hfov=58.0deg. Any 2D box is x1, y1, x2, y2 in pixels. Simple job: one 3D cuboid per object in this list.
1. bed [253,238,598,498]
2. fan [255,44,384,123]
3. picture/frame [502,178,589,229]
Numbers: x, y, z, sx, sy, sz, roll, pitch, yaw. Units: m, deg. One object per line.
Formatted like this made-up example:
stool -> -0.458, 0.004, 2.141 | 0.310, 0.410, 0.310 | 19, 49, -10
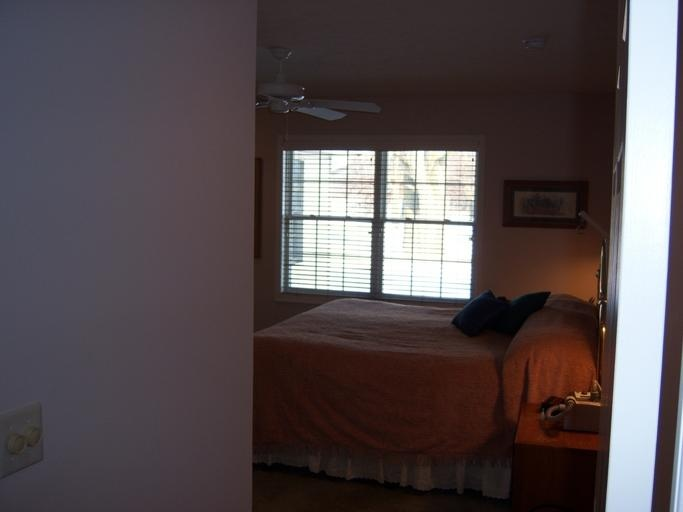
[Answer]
bed -> 0.397, 0.422, 3.136 | 1.147, 0.535, 1.238 | 4, 7, 22
fan -> -0.127, -1.216, 4.224 | 0.846, 0.320, 0.888 | 5, 9, 38
picture/frame -> 1.691, -0.436, 4.992 | 0.470, 0.298, 0.037 | 3, 7, 16
